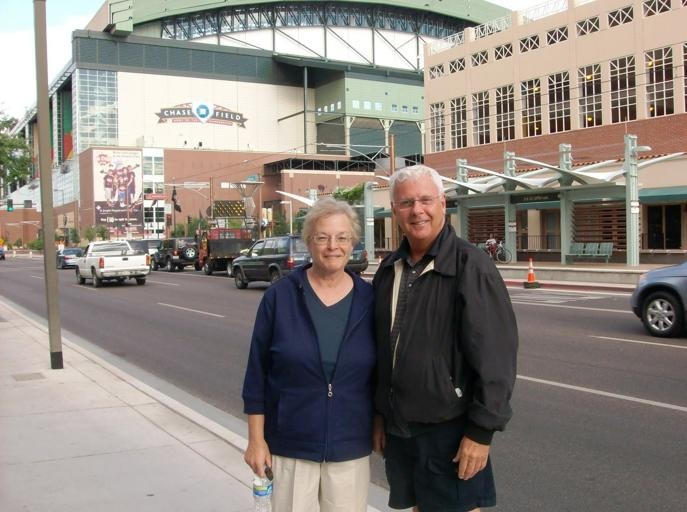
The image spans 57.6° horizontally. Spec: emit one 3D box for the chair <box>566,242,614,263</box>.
[{"bbox_3d":[12.109,-0.171,30.563,1.964,0.922,1.906,1,5,27],"label":"chair"}]

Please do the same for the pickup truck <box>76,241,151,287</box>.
[{"bbox_3d":[-10.666,0.312,28.452,1.987,1.405,3.490,0,2,-27],"label":"pickup truck"}]

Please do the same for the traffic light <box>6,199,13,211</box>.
[{"bbox_3d":[-24.197,-3.637,45.368,0.211,0.837,1.565,-4,5,-33],"label":"traffic light"}]

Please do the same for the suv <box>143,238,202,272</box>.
[{"bbox_3d":[-10.309,0.042,38.538,2.036,1.668,3.489,1,3,-30],"label":"suv"}]

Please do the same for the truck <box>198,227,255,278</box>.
[{"bbox_3d":[-6.791,-0.175,35.840,2.336,2.767,4.659,3,-2,-10],"label":"truck"}]

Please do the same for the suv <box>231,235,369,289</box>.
[{"bbox_3d":[-2.405,0.209,23.265,2.187,1.621,4.447,-1,4,-29],"label":"suv"}]
